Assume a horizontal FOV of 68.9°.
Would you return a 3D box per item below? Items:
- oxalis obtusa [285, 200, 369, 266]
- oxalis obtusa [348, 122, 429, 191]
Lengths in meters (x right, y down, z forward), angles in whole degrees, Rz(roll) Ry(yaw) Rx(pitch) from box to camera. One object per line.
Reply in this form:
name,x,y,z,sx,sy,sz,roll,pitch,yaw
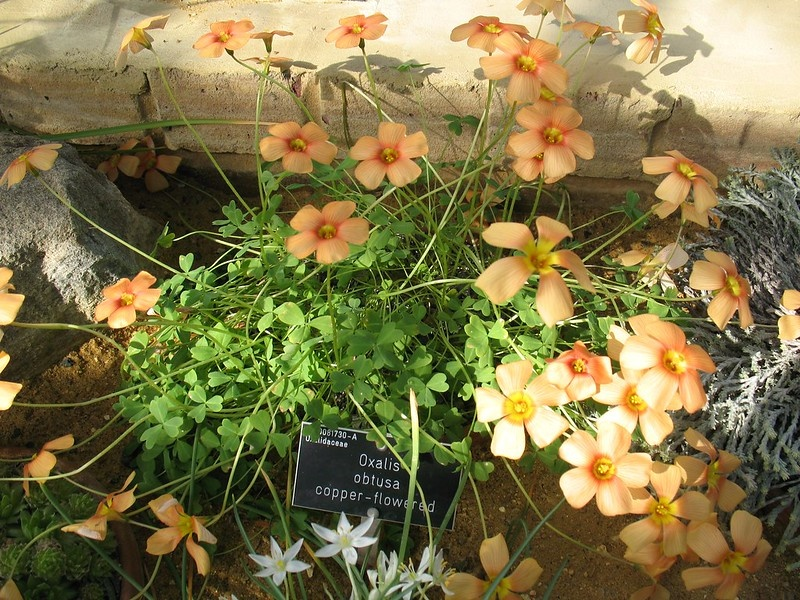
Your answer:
oxalis obtusa,-0.182,-0.178,1.424,0.174,0.168,0.175,-4,28,-8
oxalis obtusa,-0.028,-0.419,1.708,0.282,0.079,0.301,0,67,3
